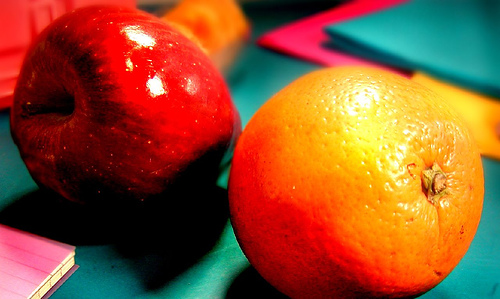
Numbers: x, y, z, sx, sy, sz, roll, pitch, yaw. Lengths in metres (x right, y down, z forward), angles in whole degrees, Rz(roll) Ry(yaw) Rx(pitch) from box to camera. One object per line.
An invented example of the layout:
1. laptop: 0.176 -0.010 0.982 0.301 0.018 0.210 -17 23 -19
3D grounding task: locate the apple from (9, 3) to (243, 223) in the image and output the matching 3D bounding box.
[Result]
1. apple: -0.268 -0.071 0.940 0.413 0.328 0.357 18 53 17

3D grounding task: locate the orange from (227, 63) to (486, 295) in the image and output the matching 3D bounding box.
1. orange: 0.154 0.088 0.950 0.481 0.419 0.390 7 63 -17
